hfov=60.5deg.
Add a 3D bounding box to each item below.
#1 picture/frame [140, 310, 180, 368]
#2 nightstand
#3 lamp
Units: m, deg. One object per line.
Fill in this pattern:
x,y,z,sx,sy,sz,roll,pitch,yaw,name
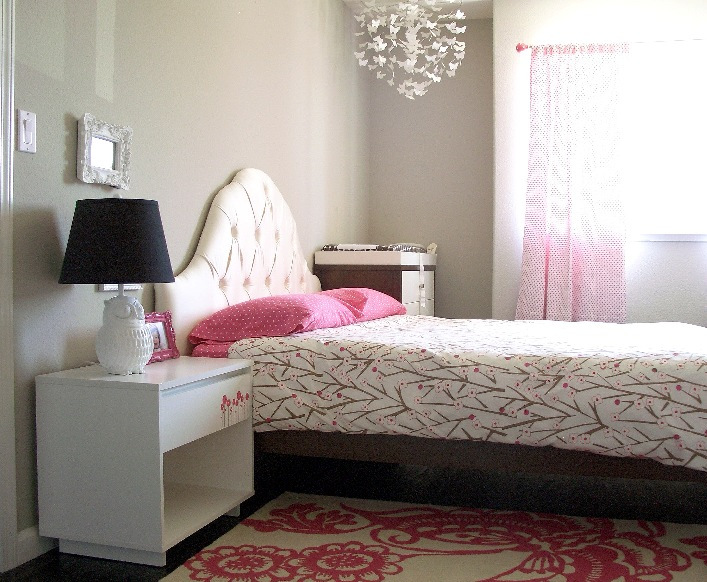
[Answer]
-0.736,0.175,2.260,0.012,0.187,0.204,-16,-1,22,picture/frame
-0.701,0.457,2.203,0.540,0.685,0.745,1,4,18,nightstand
-0.771,-0.018,1.994,0.349,0.571,0.214,-2,5,-13,lamp
